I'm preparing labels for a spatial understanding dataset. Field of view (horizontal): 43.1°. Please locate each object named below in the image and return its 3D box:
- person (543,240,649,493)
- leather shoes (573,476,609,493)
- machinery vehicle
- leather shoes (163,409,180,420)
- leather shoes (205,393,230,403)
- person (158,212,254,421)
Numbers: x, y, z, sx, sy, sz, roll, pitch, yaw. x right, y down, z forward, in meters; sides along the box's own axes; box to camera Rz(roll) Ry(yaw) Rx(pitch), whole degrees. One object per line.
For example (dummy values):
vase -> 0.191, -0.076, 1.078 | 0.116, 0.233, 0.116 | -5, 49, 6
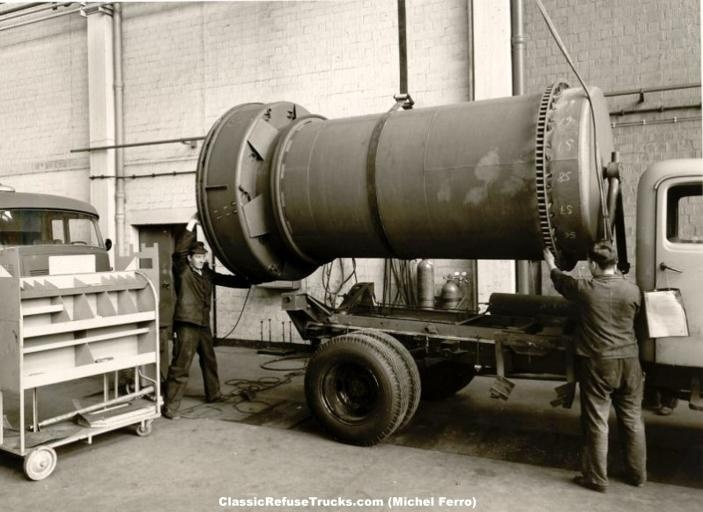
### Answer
person -> 2.761, 1.202, 9.811 | 0.883, 2.686, 0.446 | 0, 5, 12
leather shoes -> 2.609, 2.515, 9.787 | 0.367, 0.166, 0.129 | 18, 13, 40
machinery vehicle -> 2.009, 0.652, 11.542 | 5.267, 3.135, 2.842 | -1, 0, 17
leather shoes -> -2.308, 2.028, 11.435 | 0.188, 0.085, 0.108 | 2, 3, 22
leather shoes -> -1.813, 1.914, 12.030 | 0.385, 0.167, 0.130 | -2, 3, -11
person -> -2.043, 0.745, 11.689 | 1.048, 2.575, 0.693 | -4, 6, -29
